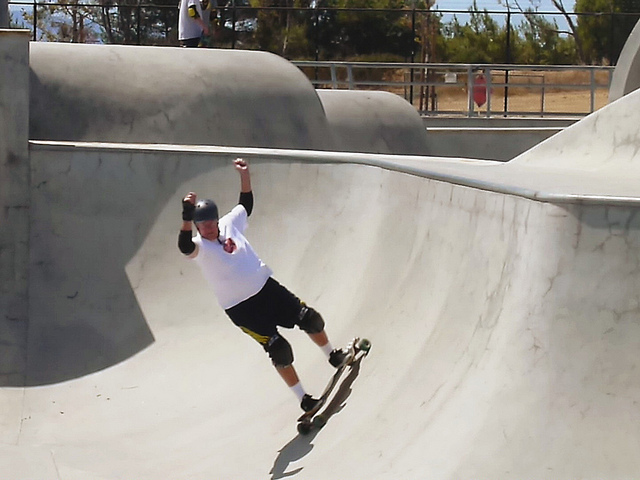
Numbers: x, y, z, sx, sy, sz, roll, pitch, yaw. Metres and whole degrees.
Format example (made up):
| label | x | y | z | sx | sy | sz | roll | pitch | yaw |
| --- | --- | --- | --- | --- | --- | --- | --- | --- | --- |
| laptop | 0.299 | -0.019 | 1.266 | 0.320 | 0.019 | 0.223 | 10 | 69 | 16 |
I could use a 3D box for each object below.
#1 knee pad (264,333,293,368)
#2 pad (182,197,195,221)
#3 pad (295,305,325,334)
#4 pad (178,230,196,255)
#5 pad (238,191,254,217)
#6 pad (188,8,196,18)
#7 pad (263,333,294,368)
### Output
| label | x | y | z | sx | sy | sz | roll | pitch | yaw |
| --- | --- | --- | --- | --- | --- | --- | --- | --- | --- |
| knee pad | -0.361 | 1.026 | 10.204 | 0.173 | 0.348 | 0.228 | -17 | 21 | -1 |
| pad | -1.199 | -0.273 | 9.899 | 0.130 | 0.221 | 0.142 | -2 | -8 | 2 |
| pad | -0.069 | 0.755 | 10.339 | 0.235 | 0.244 | 0.216 | 9 | 34 | 26 |
| pad | -1.217 | 0.023 | 9.910 | 0.075 | 0.148 | 0.191 | -12 | -43 | 27 |
| pad | -0.721 | -0.361 | 10.659 | 0.130 | 0.237 | 0.199 | -3 | 8 | -6 |
| pad | -1.815 | -3.223 | 15.375 | 0.082 | 0.114 | 0.109 | -2 | 2 | -12 |
| pad | -0.397 | 1.064 | 10.291 | 0.214 | 0.302 | 0.170 | -34 | -3 | -8 |
